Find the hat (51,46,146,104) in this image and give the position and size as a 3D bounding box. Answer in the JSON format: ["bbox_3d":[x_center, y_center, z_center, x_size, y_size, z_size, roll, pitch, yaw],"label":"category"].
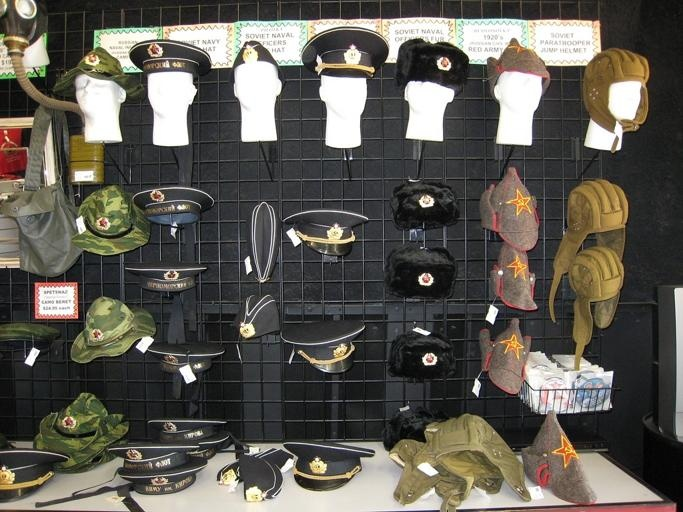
[{"bbox_3d":[-1.347,-1.024,4.893,0.343,0.216,0.390,1,6,-9],"label":"hat"}]

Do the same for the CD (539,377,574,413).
[{"bbox_3d":[1.196,0.777,4.778,0.130,0.205,0.070,4,17,11],"label":"CD"}]
